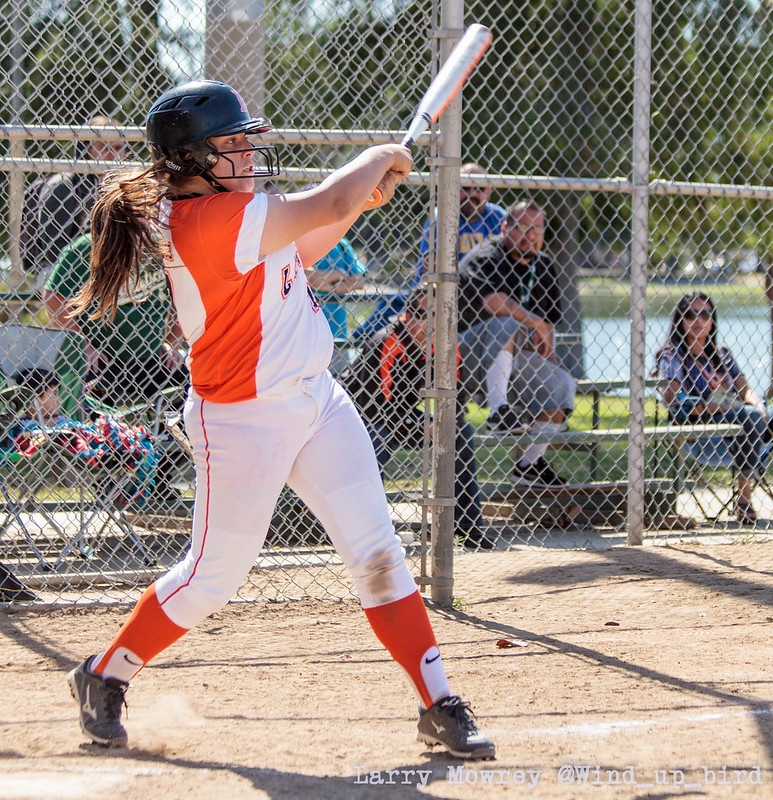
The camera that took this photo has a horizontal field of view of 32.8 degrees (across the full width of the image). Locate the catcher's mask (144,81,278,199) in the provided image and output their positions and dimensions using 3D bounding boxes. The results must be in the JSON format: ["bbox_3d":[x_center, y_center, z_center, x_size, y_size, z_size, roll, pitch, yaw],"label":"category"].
[{"bbox_3d":[-0.500,-0.751,3.711,0.388,0.266,0.249,-2,22,2],"label":"catcher's mask"}]

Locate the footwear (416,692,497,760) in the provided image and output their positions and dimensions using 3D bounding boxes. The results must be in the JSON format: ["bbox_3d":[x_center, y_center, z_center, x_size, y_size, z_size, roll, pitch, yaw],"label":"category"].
[{"bbox_3d":[0.205,0.957,3.865,0.310,0.132,0.114,4,4,40],"label":"footwear"}]
